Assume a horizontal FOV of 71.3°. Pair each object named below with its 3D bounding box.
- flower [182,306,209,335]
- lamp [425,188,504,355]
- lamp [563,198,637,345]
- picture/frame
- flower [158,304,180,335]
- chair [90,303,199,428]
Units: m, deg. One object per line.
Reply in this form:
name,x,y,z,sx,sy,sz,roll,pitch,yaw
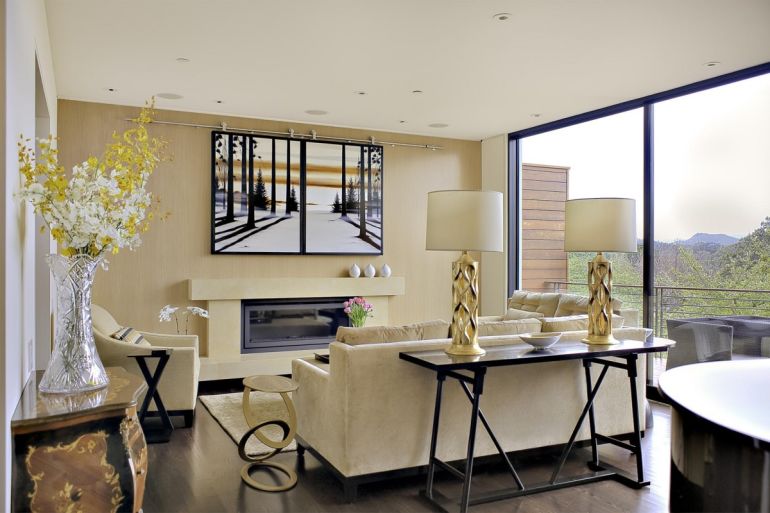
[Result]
flower,-2.390,0.781,6.645,0.243,0.293,0.300,-7,-14,21
lamp,0.574,0.113,3.936,0.561,1.184,0.506,1,7,8
lamp,1.841,0.133,4.578,0.590,1.201,0.589,0,-1,13
picture/frame,-1.136,-0.761,7.206,2.353,1.570,0.050,0,13,-20
flower,-2.664,0.769,6.504,0.297,0.320,0.181,-8,-18,23
chair,-2.555,1.028,5.502,1.264,1.354,1.010,0,-1,-16
